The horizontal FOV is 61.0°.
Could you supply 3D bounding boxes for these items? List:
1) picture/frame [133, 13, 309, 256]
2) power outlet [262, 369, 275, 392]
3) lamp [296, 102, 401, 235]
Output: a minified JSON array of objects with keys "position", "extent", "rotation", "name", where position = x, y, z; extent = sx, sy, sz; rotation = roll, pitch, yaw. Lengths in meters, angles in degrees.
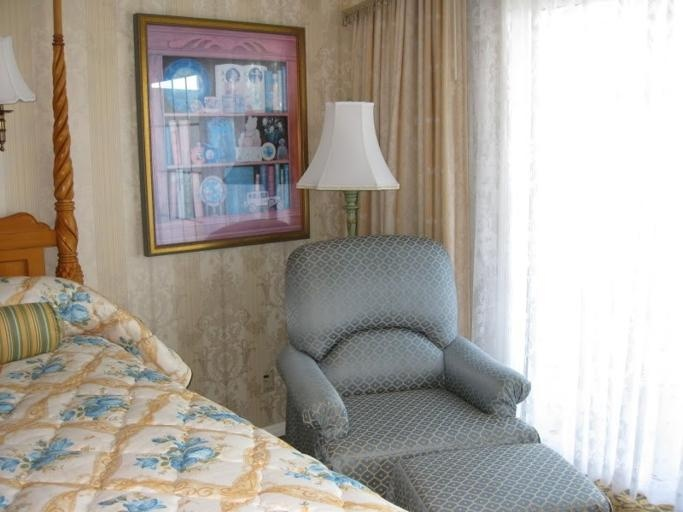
[{"position":[-0.741,-0.736,3.410],"extent":[1.313,1.727,0.076],"rotation":[-6,13,-35],"name":"picture/frame"},{"position":[-0.462,0.807,3.730],"extent":[0.027,0.119,0.122],"rotation":[1,3,35],"name":"power outlet"},{"position":[0.071,-0.381,3.305],"extent":[0.531,0.929,0.515],"rotation":[8,16,31],"name":"lamp"}]
